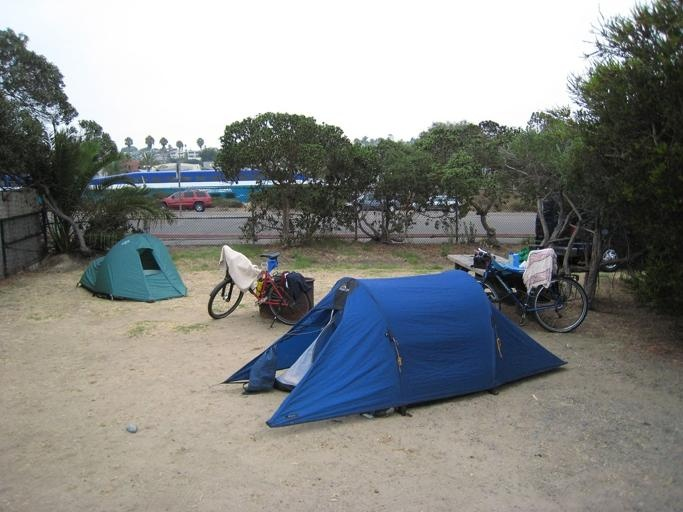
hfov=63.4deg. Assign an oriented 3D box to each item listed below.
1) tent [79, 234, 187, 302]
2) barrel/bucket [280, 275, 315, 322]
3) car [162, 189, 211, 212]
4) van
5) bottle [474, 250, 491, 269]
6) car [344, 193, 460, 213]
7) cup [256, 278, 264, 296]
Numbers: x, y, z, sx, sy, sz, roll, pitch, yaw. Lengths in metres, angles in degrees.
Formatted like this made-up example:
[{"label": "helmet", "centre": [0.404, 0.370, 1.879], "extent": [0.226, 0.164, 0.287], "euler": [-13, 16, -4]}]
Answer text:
[{"label": "tent", "centre": [-5.235, 0.333, 13.743], "extent": [2.141, 1.257, 1.527], "euler": [11, 12, 31]}, {"label": "barrel/bucket", "centre": [-0.916, 0.907, 11.949], "extent": [0.756, 0.947, 0.769], "euler": [1, 8, 0]}, {"label": "car", "centre": [-11.451, -4.145, 41.797], "extent": [1.826, 1.514, 4.071], "euler": [3, 10, 16]}, {"label": "van", "centre": [5.784, -0.532, 13.502], "extent": [2.495, 1.846, 1.771], "euler": [-3, 16, -7]}, {"label": "bottle", "centre": [3.118, 0.120, 12.321], "extent": [0.302, 0.364, 0.242], "euler": [7, 2, -6]}, {"label": "car", "centre": [3.068, -2.392, 25.021], "extent": [4.649, 0.894, 1.944], "euler": [-1, 10, -7]}, {"label": "cup", "centre": [-1.704, 0.694, 11.653], "extent": [0.113, 0.292, 0.376], "euler": [4, 19, 0]}]
